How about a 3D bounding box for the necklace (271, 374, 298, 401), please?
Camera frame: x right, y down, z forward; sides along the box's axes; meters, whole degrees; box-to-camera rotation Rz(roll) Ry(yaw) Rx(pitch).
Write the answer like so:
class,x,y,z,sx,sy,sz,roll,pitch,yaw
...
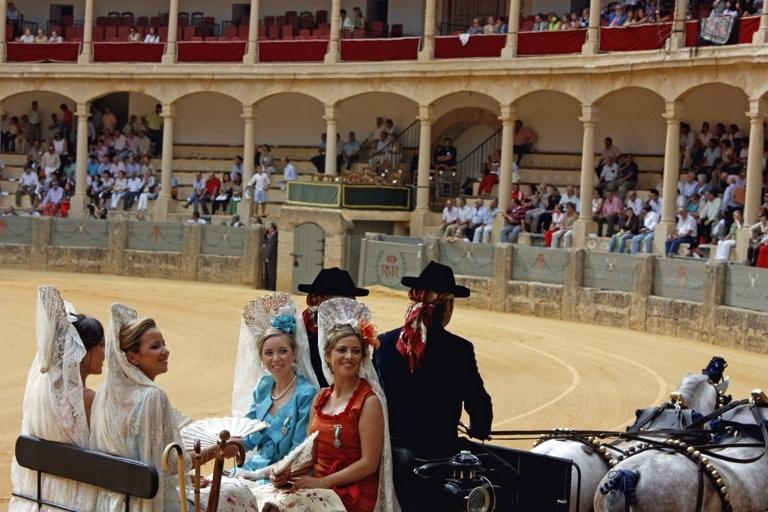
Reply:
class,x,y,z,sx,sy,sz,roll,pitch,yaw
necklace,-1.664,2.138,23.638,0.313,0.454,0.107,-4,3,37
